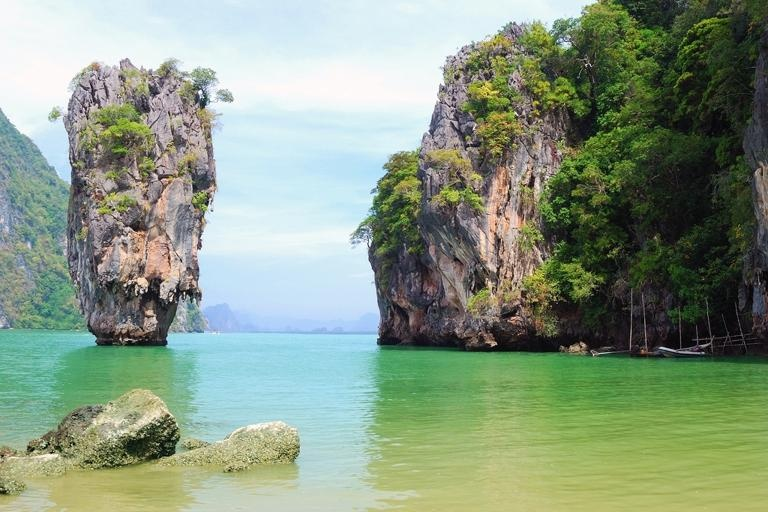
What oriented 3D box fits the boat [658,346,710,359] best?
[{"bbox_3d":[20.308,6.648,51.557,2.784,0.681,0.931,0,-11,22],"label":"boat"}]
